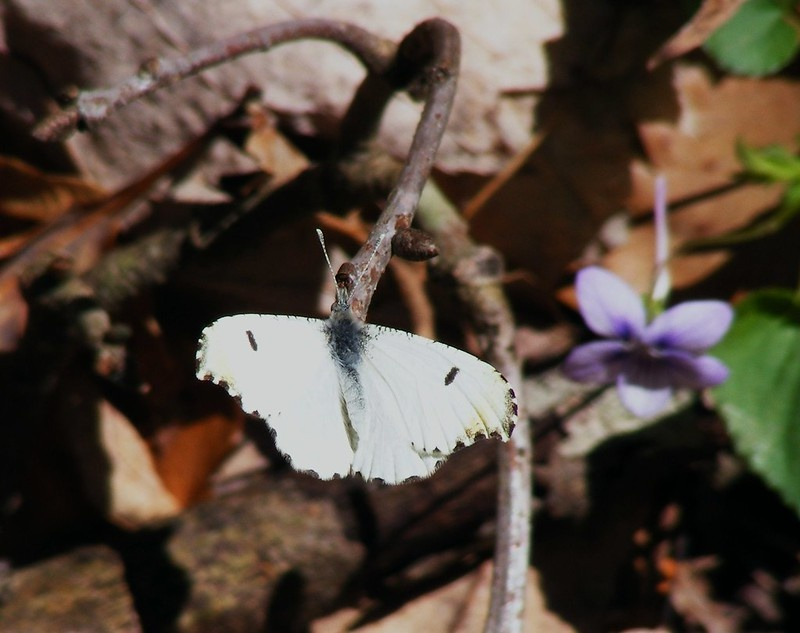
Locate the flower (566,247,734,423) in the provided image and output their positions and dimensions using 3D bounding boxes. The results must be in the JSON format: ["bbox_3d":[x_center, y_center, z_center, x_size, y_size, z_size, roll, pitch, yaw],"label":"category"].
[{"bbox_3d":[0.197,0.020,0.985,0.031,0.151,0.153,-16,55,-20],"label":"flower"}]

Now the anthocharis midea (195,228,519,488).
[{"bbox_3d":[-0.055,0.049,1.021,0.298,0.075,0.242,13,69,-21],"label":"anthocharis midea"}]
